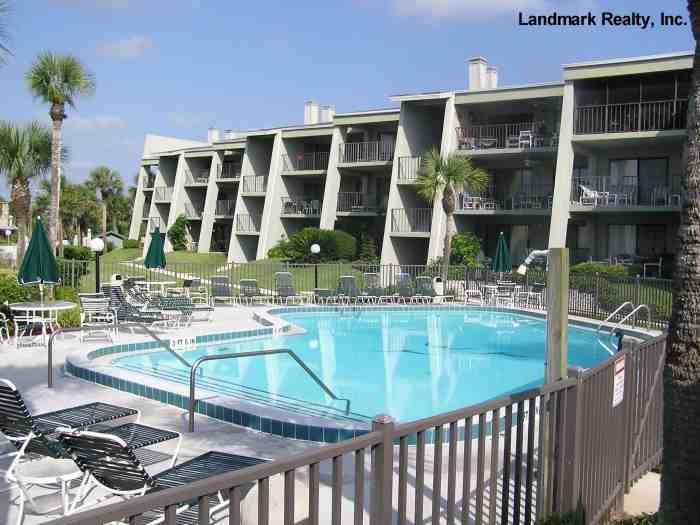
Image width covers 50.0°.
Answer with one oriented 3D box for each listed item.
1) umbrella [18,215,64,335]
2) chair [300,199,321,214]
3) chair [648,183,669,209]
[{"bbox_3d":[-6.400,0.033,15.465,0.637,2.044,0.806,11,17,16],"label":"umbrella"},{"bbox_3d":[-2.056,-2.888,39.000,0.828,1.189,0.788,-1,-2,-8],"label":"chair"},{"bbox_3d":[11.276,-2.410,27.373,0.695,0.862,2.223,2,0,21],"label":"chair"}]
